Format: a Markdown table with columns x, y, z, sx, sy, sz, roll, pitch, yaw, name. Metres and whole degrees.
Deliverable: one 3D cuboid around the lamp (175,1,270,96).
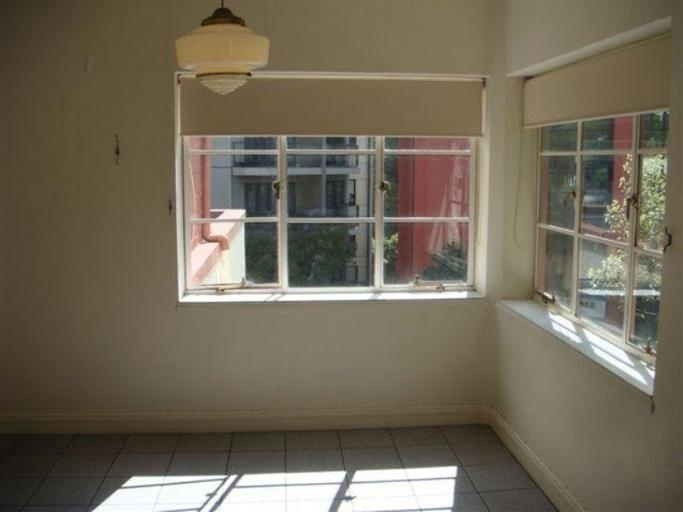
| x | y | z | sx | sy | sz | roll | pitch | yaw | name |
| --- | --- | --- | --- | --- | --- | --- | --- | --- | --- |
| -0.543 | -0.870 | 2.898 | 0.339 | 0.585 | 0.372 | 2 | 9 | 21 | lamp |
